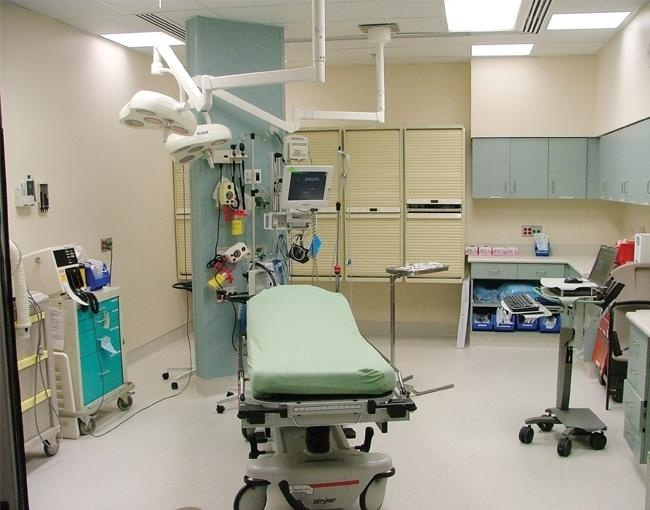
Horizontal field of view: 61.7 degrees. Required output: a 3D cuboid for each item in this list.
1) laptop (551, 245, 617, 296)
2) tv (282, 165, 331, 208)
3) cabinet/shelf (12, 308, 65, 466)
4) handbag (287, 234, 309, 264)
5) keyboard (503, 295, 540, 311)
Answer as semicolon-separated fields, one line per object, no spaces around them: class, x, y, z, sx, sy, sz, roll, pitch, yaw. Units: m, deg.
laptop;2.300;0.110;4.796;0.377;0.349;0.469;2;7;8
tv;-0.164;-0.562;4.429;0.344;0.336;0.049;-1;27;-12
cabinet/shelf;-2.007;0.846;3.771;0.172;0.865;0.384;0;10;6
handbag;-0.225;-0.074;4.717;0.191;0.278;0.079;10;-7;-9
keyboard;1.483;0.368;4.142;0.169;0.076;0.307;-2;8;5
